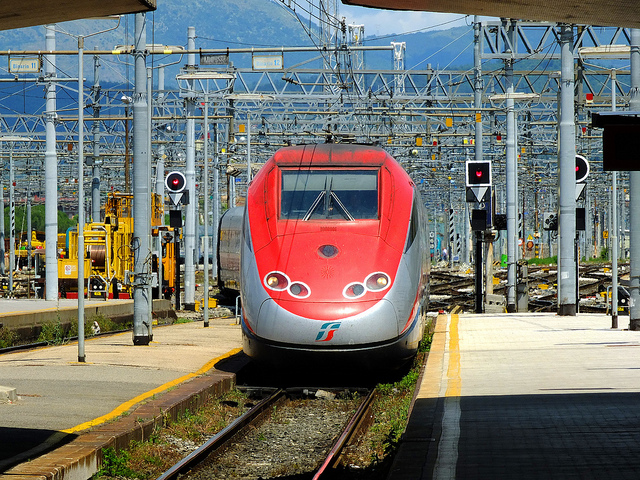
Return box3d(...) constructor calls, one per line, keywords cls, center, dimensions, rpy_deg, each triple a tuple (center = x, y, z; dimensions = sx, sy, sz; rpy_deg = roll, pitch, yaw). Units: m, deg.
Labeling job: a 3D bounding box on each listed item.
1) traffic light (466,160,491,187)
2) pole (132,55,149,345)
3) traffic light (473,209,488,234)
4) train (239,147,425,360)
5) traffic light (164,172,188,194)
box3d(cls="traffic light", center=(5.165, -2.164, 27.713), dimensions=(0.807, 0.773, 0.442), rpy_deg=(0, -3, 4))
box3d(cls="pole", center=(-3.840, -0.834, 17.985), dimensions=(0.420, 5.811, 0.460), rpy_deg=(-2, 1, -13))
box3d(cls="traffic light", center=(5.176, -0.620, 27.300), dimensions=(0.627, 0.632, 1.180), rpy_deg=(-5, -4, 8))
box3d(cls="train", center=(0.116, 0.186, 14.985), dimensions=(2.971, 3.100, 2.234), rpy_deg=(-2, 0, -6))
box3d(cls="traffic light", center=(-4.915, -1.940, 28.583), dimensions=(0.608, 0.670, 0.627), rpy_deg=(-2, 0, -11))
